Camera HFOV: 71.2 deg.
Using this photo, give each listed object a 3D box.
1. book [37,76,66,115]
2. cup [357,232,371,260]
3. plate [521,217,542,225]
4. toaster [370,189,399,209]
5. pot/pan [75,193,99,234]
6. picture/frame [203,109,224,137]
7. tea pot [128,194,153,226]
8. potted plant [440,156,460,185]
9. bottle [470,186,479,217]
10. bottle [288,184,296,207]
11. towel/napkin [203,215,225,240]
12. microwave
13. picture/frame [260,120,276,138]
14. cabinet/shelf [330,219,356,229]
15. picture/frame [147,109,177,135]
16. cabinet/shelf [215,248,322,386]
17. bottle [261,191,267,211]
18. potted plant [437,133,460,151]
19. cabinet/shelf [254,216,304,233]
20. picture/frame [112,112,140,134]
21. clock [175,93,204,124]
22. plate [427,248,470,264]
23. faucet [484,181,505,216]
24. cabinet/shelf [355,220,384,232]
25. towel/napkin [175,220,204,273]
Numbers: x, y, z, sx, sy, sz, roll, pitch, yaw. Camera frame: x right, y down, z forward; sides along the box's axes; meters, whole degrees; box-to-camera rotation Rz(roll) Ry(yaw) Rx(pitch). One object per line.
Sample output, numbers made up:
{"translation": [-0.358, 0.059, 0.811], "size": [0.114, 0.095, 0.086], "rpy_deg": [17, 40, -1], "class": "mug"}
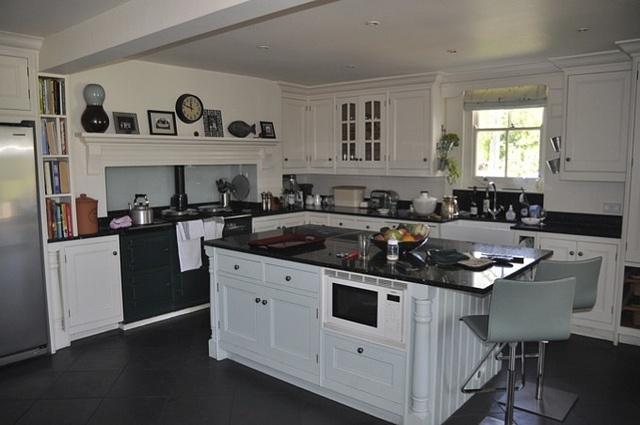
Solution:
{"translation": [-3.006, -1.310, 5.026], "size": [0.262, 0.431, 0.061], "rpy_deg": [-5, 9, -29], "class": "book"}
{"translation": [0.412, 0.329, 4.167], "size": [0.092, 0.198, 0.218], "rpy_deg": [-1, 7, 3], "class": "cup"}
{"translation": [2.732, 0.115, 5.787], "size": [0.231, 0.081, 0.246], "rpy_deg": [2, 8, 23], "class": "plate"}
{"translation": [1.054, -0.204, 7.160], "size": [0.434, 0.307, 0.306], "rpy_deg": [3, 7, 38], "class": "toaster"}
{"translation": [-2.736, 0.026, 5.243], "size": [0.218, 0.470, 0.208], "rpy_deg": [-3, 8, -11], "class": "pot/pan"}
{"translation": [-1.512, -1.284, 6.377], "size": [0.086, 0.374, 0.328], "rpy_deg": [5, 10, 40], "class": "picture/frame"}
{"translation": [-2.359, -0.046, 5.867], "size": [0.266, 0.367, 0.598], "rpy_deg": [-4, 8, -23], "class": "tea pot"}
{"translation": [1.887, -0.625, 6.688], "size": [0.345, 0.454, 0.391], "rpy_deg": [3, 4, 13], "class": "potted plant"}
{"translation": [2.262, -0.174, 6.541], "size": [0.127, 0.408, 0.332], "rpy_deg": [1, 8, 19], "class": "bottle"}
{"translation": [-0.481, -0.277, 7.447], "size": [0.110, 0.342, 0.347], "rpy_deg": [-2, 7, -4], "class": "bottle"}
{"translation": [-1.416, 0.205, 5.912], "size": [0.312, 0.285, 0.053], "rpy_deg": [-6, 6, -42], "class": "towel/napkin"}
{"translation": [0.445, 0.849, 3.963], "size": [0.910, 0.596, 0.580], "rpy_deg": [5, 5, 39], "class": "microwave"}
{"translation": [-0.813, -1.284, 6.885], "size": [0.114, 0.290, 0.316], "rpy_deg": [-4, 2, 36], "class": "picture/frame"}
{"translation": [0.330, 0.160, 6.874], "size": [0.451, 0.132, 0.093], "rpy_deg": [3, 9, 29], "class": "cabinet/shelf"}
{"translation": [-2.090, -1.191, 5.863], "size": [0.031, 0.323, 0.401], "rpy_deg": [-7, -2, 43], "class": "picture/frame"}
{"translation": [-0.473, 1.035, 4.436], "size": [1.328, 1.096, 0.606], "rpy_deg": [4, 6, 34], "class": "cabinet/shelf"}
{"translation": [-0.863, -0.174, 6.932], "size": [0.086, 0.265, 0.115], "rpy_deg": [-4, 8, -16], "class": "bottle"}
{"translation": [1.922, -1.010, 6.655], "size": [0.297, 0.280, 0.282], "rpy_deg": [-2, 2, -36], "class": "potted plant"}
{"translation": [-0.623, 0.133, 6.848], "size": [0.094, 0.205, 1.020], "rpy_deg": [5, 10, 41], "class": "cabinet/shelf"}
{"translation": [-2.434, -1.120, 5.572], "size": [0.025, 0.336, 0.351], "rpy_deg": [-11, -6, 41], "class": "picture/frame"}
{"translation": [-1.800, -1.427, 6.091], "size": [0.125, 0.406, 0.425], "rpy_deg": [-2, 10, 42], "class": "clock"}
{"translation": [1.167, 0.401, 4.169], "size": [0.367, 0.074, 0.438], "rpy_deg": [-3, 7, -14], "class": "plate"}
{"translation": [2.491, -0.193, 6.403], "size": [0.256, 0.499, 0.387], "rpy_deg": [-2, 7, -5], "class": "faucet"}
{"translation": [0.748, 0.163, 6.663], "size": [0.293, 0.178, 0.161], "rpy_deg": [6, 10, 36], "class": "cabinet/shelf"}
{"translation": [-1.681, 0.443, 5.818], "size": [0.338, 0.680, 0.116], "rpy_deg": [-8, 10, -40], "class": "towel/napkin"}
